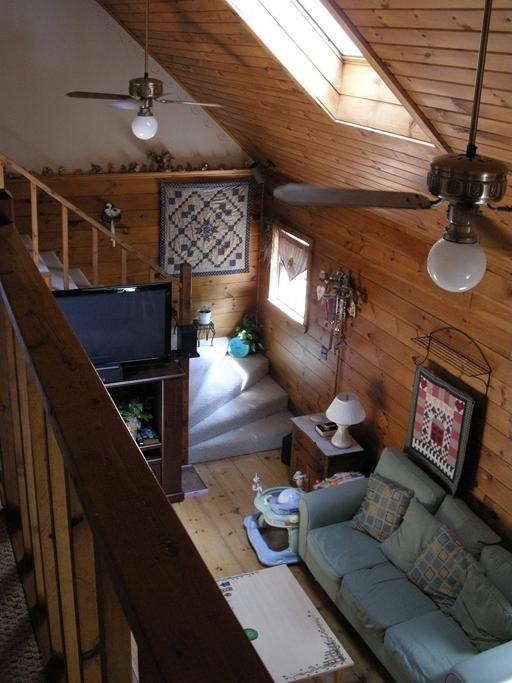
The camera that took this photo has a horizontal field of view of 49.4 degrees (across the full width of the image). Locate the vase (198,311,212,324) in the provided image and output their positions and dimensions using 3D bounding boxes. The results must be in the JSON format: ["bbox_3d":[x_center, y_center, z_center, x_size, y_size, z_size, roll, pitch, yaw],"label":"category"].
[{"bbox_3d":[-0.656,-0.316,7.036,0.171,0.199,0.180,1,18,-8],"label":"vase"}]

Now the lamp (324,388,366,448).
[{"bbox_3d":[0.868,0.756,5.331,0.414,0.457,0.413,-14,30,-26],"label":"lamp"}]

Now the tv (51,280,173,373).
[{"bbox_3d":[-0.931,-0.120,3.737,0.825,0.559,0.078,-6,29,-19],"label":"tv"}]

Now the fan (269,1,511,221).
[{"bbox_3d":[0.449,-0.598,1.437,0.664,0.572,0.306,-10,22,-35],"label":"fan"}]

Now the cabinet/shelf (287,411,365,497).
[{"bbox_3d":[0.712,1.261,5.647,0.449,0.698,0.809,-14,19,-24],"label":"cabinet/shelf"}]
